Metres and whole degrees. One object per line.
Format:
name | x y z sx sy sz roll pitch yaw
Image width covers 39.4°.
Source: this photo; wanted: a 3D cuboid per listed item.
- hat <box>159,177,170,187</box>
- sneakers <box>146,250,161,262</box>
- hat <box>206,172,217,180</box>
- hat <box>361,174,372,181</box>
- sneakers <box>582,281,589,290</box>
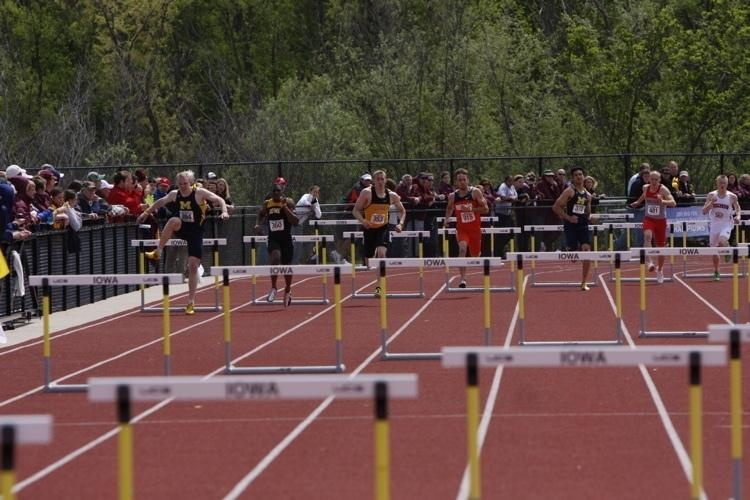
hat | -4.908 -1.530 24.302 0.223 0.183 0.345 18 1 -19
sneakers | -4.349 0.118 20.536 0.137 0.203 0.302 -12 -11 26
hat | -4.311 -1.938 27.648 0.339 0.246 0.621 2 1 -10
hat | -0.224 -1.751 25.412 0.200 0.133 0.333 1 2 -12
sneakers | 4.643 0.811 23.274 0.141 0.211 0.454 -2 -5 -7
